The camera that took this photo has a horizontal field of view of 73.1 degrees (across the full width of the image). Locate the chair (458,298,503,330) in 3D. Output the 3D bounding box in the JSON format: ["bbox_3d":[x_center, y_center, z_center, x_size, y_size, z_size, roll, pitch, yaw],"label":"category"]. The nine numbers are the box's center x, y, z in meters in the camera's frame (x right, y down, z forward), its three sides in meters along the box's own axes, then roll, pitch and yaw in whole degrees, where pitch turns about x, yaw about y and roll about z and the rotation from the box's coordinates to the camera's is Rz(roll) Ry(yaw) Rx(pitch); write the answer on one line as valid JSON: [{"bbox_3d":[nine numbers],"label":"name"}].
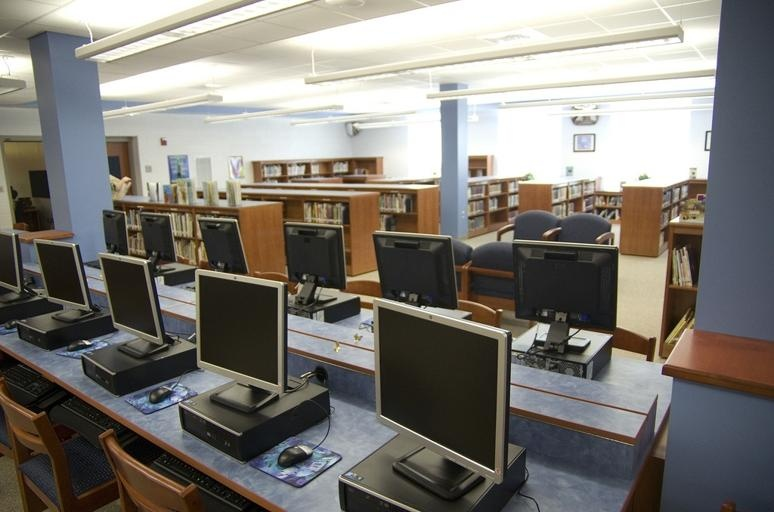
[{"bbox_3d":[0.691,0.398,3.755,0.211,0.323,0.242,14,26,38],"label":"chair"}]

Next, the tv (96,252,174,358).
[{"bbox_3d":[-1.739,0.370,3.551,0.718,0.687,0.265,3,9,36],"label":"tv"}]

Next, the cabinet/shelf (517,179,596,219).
[{"bbox_3d":[4.373,-1.443,12.806,0.729,0.844,2.701,10,17,42],"label":"cabinet/shelf"}]

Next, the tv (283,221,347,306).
[{"bbox_3d":[-0.550,0.071,3.942,0.609,0.607,0.290,8,21,25],"label":"tv"}]

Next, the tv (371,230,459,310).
[{"bbox_3d":[0.150,0.105,3.544,0.619,0.491,0.213,6,19,34],"label":"tv"}]

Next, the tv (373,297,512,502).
[{"bbox_3d":[0.247,0.653,2.448,0.283,0.794,0.857,-6,9,-38],"label":"tv"}]

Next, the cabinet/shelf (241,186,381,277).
[{"bbox_3d":[-1.437,-0.059,9.315,1.656,0.846,2.896,2,-2,-20],"label":"cabinet/shelf"}]

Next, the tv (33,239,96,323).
[{"bbox_3d":[-2.528,0.224,4.033,0.733,0.670,0.256,1,8,30],"label":"tv"}]

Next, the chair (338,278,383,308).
[{"bbox_3d":[-0.199,0.330,4.622,0.260,0.318,0.279,1,2,23],"label":"chair"}]

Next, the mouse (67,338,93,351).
[{"bbox_3d":[-2.198,0.638,3.713,0.138,0.044,0.070,-15,23,-42],"label":"mouse"}]

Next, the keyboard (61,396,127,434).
[{"bbox_3d":[-1.884,1.104,3.353,0.482,0.095,0.139,16,45,31],"label":"keyboard"}]

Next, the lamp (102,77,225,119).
[{"bbox_3d":[-4.549,-3.145,10.306,2.422,0.168,0.314,0,1,37],"label":"lamp"}]

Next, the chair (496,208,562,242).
[{"bbox_3d":[2.319,-0.525,8.455,0.703,0.856,0.784,6,12,31],"label":"chair"}]

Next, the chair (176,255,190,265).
[{"bbox_3d":[-2.586,0.053,6.568,0.135,0.146,0.118,4,12,14],"label":"chair"}]

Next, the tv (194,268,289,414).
[{"bbox_3d":[-0.800,0.485,2.848,0.749,0.707,0.250,6,12,31],"label":"tv"}]

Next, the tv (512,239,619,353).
[{"bbox_3d":[1.110,0.258,3.227,0.713,0.654,0.244,5,22,27],"label":"tv"}]

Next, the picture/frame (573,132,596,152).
[{"bbox_3d":[5.765,-3.305,15.101,0.621,0.487,0.064,10,21,35],"label":"picture/frame"}]

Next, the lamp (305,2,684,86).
[{"bbox_3d":[1.080,-2.236,5.839,3.878,0.135,0.327,5,11,30],"label":"lamp"}]

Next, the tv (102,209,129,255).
[{"bbox_3d":[-2.779,-0.226,5.256,0.476,0.440,0.157,13,20,39],"label":"tv"}]

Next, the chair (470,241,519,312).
[{"bbox_3d":[1.162,0.199,5.761,0.615,0.787,0.753,5,16,27],"label":"chair"}]

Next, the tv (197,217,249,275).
[{"bbox_3d":[-1.428,-0.053,4.446,0.559,0.514,0.175,6,14,41],"label":"tv"}]

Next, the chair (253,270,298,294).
[{"bbox_3d":[-0.770,0.185,3.620,0.189,0.240,0.180,7,11,28],"label":"chair"}]

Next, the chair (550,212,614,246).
[{"bbox_3d":[2.908,-0.370,7.769,0.719,0.855,0.795,5,11,34],"label":"chair"}]
